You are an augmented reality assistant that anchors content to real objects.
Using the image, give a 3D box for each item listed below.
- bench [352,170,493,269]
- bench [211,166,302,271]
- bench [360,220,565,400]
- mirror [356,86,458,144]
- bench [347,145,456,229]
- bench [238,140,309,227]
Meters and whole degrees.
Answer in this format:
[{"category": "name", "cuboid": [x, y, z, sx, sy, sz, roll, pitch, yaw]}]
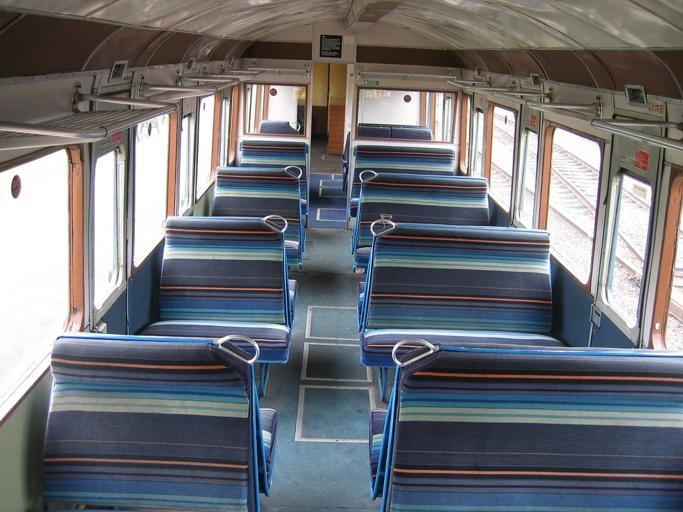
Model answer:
[{"category": "bench", "cuboid": [1.225, -0.496, 8.246, 1.938, 1.011, 1.209, 2, -85, -1]}, {"category": "bench", "cuboid": [-1.254, -0.624, 9.175, 1.478, 1.350, 1.325, 2, -89, 2]}, {"category": "bench", "cuboid": [1.317, 0.934, 6.669, 2.757, 1.453, 2.209, 1, -75, -3]}, {"category": "mirror", "cuboid": [1.680, -3.684, 15.428, 2.810, 0.140, 1.514, -1, -81, -16]}, {"category": "bench", "cuboid": [1.077, -1.427, 10.568, 2.137, 1.156, 1.369, 3, -99, 3]}, {"category": "bench", "cuboid": [-1.308, -1.507, 10.870, 1.388, 1.305, 1.332, 1, -91, 0]}]
